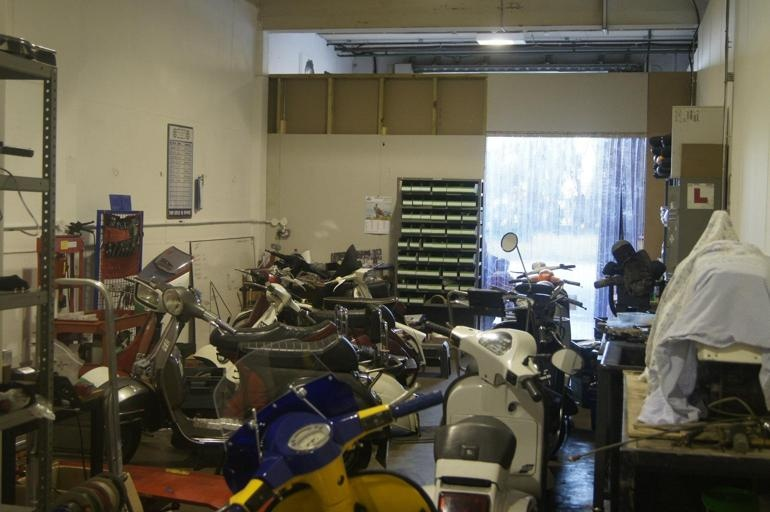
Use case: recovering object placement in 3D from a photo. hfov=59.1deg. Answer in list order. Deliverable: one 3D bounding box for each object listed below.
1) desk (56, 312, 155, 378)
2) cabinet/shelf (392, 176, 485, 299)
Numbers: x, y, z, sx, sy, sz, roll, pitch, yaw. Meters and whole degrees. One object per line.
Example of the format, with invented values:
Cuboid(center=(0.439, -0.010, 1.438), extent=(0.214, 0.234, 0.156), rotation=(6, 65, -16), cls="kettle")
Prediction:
Cuboid(center=(-2.331, 0.775, 5.475), extent=(0.731, 0.554, 0.709), rotation=(-6, 0, 25), cls="desk")
Cuboid(center=(0.668, -0.188, 8.220), extent=(1.003, 1.487, 0.723), rotation=(0, 4, 7), cls="cabinet/shelf")
